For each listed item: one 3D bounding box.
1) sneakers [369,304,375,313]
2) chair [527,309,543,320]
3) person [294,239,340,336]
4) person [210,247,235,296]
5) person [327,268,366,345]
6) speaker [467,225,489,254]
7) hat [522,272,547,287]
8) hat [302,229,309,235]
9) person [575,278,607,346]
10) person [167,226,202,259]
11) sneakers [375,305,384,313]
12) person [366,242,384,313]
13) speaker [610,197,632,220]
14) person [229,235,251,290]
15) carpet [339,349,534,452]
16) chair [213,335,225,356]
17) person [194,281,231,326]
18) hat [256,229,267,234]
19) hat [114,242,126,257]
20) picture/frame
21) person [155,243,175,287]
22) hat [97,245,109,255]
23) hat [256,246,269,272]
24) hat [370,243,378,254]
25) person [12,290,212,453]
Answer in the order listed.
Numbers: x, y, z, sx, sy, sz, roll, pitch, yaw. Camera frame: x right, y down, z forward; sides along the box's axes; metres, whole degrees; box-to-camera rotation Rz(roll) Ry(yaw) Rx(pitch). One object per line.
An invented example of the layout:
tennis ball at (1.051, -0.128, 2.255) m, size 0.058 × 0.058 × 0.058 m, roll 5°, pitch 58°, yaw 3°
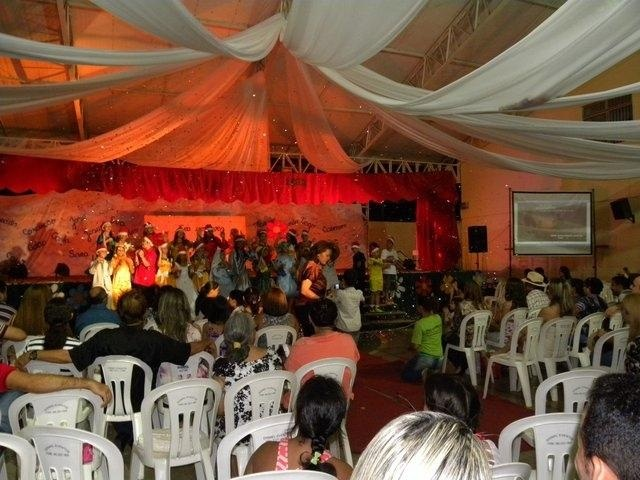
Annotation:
sneakers at (1.216, 1.591, 9.830) m, size 0.157 × 0.169 × 0.143 m, roll -4°, pitch -7°, yaw 28°
chair at (2.784, 0.960, 5.457) m, size 0.145 × 0.191 × 0.143 m, roll -29°, pitch 25°, yaw -35°
person at (-0.051, 1.017, 6.224) m, size 0.720 × 1.934 × 0.683 m, roll 0°, pitch 12°, yaw -12°
person at (-2.155, 0.692, 9.048) m, size 0.649 × 1.069 × 0.462 m, roll 2°, pitch 34°, yaw 2°
person at (0.350, 1.161, 5.993) m, size 0.536 × 1.498 × 0.465 m, roll 1°, pitch 14°, yaw -11°
speaker at (4.404, -0.043, 11.762) m, size 0.457 × 0.749 × 0.576 m, roll -2°, pitch -7°, yaw 15°
hat at (3.301, 0.615, 6.482) m, size 0.349 × 0.155 × 0.403 m, roll 17°, pitch 5°, yaw 34°
hat at (-0.405, -0.208, 11.415) m, size 0.155 × 0.207 × 0.202 m, roll 4°, pitch -33°, yaw -6°
person at (3.599, 0.975, 5.623) m, size 0.287 × 0.345 × 0.798 m, roll 8°, pitch 44°, yaw 42°
person at (-3.166, 0.060, 9.776) m, size 0.823 × 0.892 × 0.275 m, roll 4°, pitch -5°, yaw -43°
sneakers at (1.399, 1.617, 9.908) m, size 0.177 × 0.161 × 0.402 m, roll -2°, pitch -7°, yaw 15°
person at (1.369, 0.864, 10.249) m, size 0.360 × 1.604 × 0.777 m, roll -1°, pitch -6°, yaw 10°
speaker at (7.568, -0.769, 10.590) m, size 0.551 × 0.588 × 0.406 m, roll 5°, pitch -8°, yaw -41°
person at (-1.675, 0.471, 8.835) m, size 0.415 × 1.162 × 1.259 m, roll 1°, pitch -7°, yaw -11°
carpet at (0.878, 1.893, 4.984) m, size 1.110 × 0.394 × 1.661 m, roll 2°, pitch -1°, yaw -22°
chair at (-0.960, 1.015, 4.038) m, size 0.152 × 0.179 × 0.201 m, roll 2°, pitch -7°, yaw -8°
person at (-1.325, 0.777, 5.152) m, size 0.361 × 0.323 × 0.783 m, roll 19°, pitch -14°, yaw -12°
hat at (-1.420, -0.211, 10.341) m, size 0.261 × 0.065 × 0.276 m, roll 0°, pitch 0°, yaw -10°
hat at (-3.913, 0.191, 8.354) m, size 0.206 × 0.296 × 0.262 m, roll 3°, pitch -1°, yaw -3°
picture/frame at (5.439, -0.373, 9.784) m, size 1.494 × 1.272 × 0.103 m, roll 0°, pitch 2°, yaw 6°
person at (-3.183, 0.499, 8.652) m, size 0.358 × 0.877 × 0.274 m, roll 1°, pitch -6°, yaw -11°
hat at (-4.379, 0.232, 8.497) m, size 0.173 × 0.251 × 0.460 m, roll 3°, pitch -8°, yaw -26°
hat at (-1.206, 0.390, 8.799) m, size 0.334 × 0.456 × 0.204 m, roll -3°, pitch -5°, yaw -17°
hat at (1.361, 0.234, 10.600) m, size 0.238 × 0.314 × 0.322 m, roll -4°, pitch 8°, yaw 1°
person at (-1.542, 1.014, 3.213) m, size 1.451 × 1.500 × 0.432 m, roll 0°, pitch 30°, yaw -17°
